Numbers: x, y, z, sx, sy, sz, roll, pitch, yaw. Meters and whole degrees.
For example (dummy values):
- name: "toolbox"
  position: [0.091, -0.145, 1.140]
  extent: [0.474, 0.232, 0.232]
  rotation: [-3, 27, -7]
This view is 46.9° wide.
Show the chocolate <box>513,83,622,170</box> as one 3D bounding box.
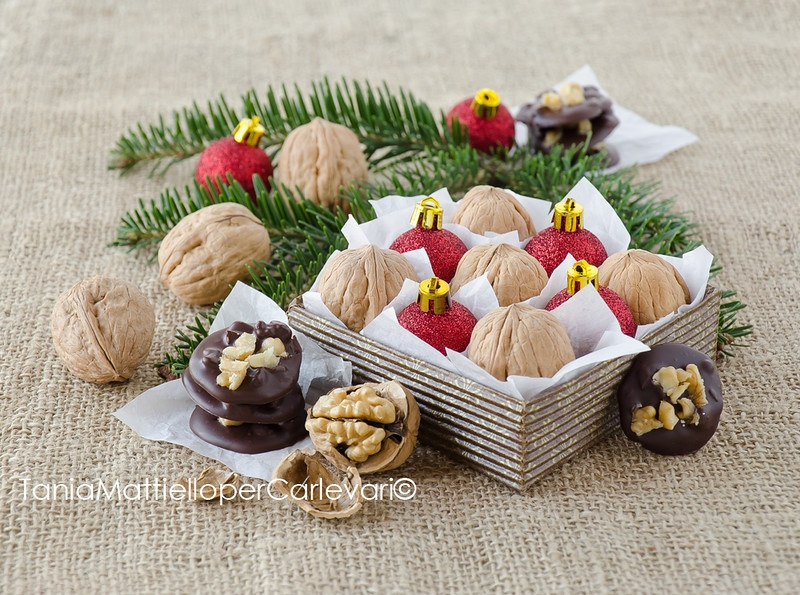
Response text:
- name: "chocolate"
  position: [0.250, -0.271, 1.394]
  extent: [0.138, 0.065, 0.136]
  rotation: [-25, 49, -15]

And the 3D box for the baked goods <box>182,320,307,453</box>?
- name: "baked goods"
  position: [-0.148, 0.095, 1.020]
  extent: [0.127, 0.103, 0.139]
  rotation: [26, 39, 31]

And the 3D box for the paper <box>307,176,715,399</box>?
- name: "paper"
  position: [0.161, 0.000, 1.002]
  extent: [0.302, 0.096, 0.297]
  rotation: [-31, 48, -32]

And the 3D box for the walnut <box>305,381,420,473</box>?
- name: "walnut"
  position: [-0.041, 0.135, 0.960]
  extent: [0.110, 0.065, 0.099]
  rotation: [6, 66, 24]

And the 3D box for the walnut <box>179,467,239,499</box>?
- name: "walnut"
  position: [-0.200, 0.192, 0.951]
  extent: [0.033, 0.017, 0.044]
  rotation: [15, 20, 9]

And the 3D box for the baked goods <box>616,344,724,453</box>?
- name: "baked goods"
  position: [0.279, 0.095, 0.952]
  extent: [0.104, 0.111, 0.036]
  rotation: [-9, 2, -5]

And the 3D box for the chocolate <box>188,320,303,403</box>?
- name: "chocolate"
  position: [-0.165, 0.068, 0.964]
  extent: [0.121, 0.057, 0.083]
  rotation: [-3, 44, 5]

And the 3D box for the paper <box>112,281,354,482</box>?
- name: "paper"
  position: [-0.183, 0.106, 1.037]
  extent: [0.230, 0.033, 0.217]
  rotation: [26, 55, 34]

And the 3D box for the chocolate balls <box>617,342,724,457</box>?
- name: "chocolate balls"
  position: [0.281, 0.099, 0.955]
  extent: [0.105, 0.111, 0.037]
  rotation: [-6, 2, -4]
